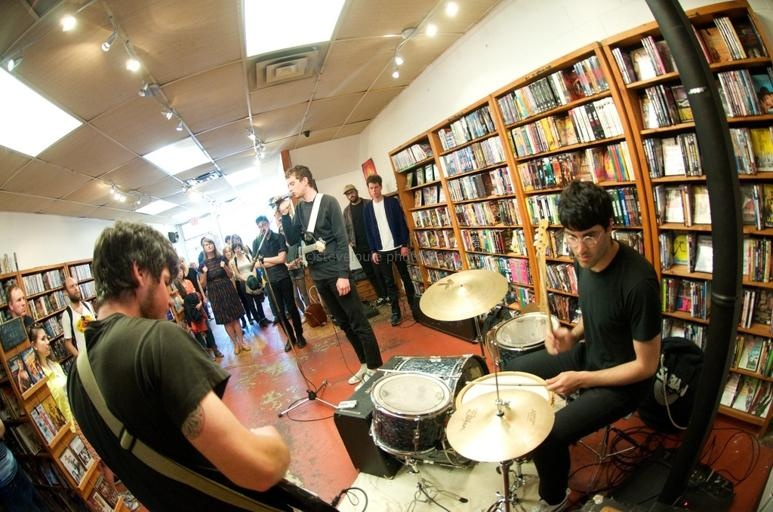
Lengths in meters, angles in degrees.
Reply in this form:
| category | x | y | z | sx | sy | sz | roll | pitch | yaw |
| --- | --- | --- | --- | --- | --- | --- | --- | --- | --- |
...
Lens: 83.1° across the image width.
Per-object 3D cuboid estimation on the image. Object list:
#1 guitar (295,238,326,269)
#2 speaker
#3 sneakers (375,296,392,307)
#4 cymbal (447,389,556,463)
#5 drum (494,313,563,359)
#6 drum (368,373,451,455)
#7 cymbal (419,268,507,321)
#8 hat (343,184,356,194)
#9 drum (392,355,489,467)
| category | x | y | z | sx | sy | sz | roll | pitch | yaw |
| --- | --- | --- | --- | --- | --- | --- | --- | --- | --- |
| guitar | -0.712 | -0.043 | 4.296 | 0.287 | 0.271 | 0.118 | 5 | 12 | 14 |
| speaker | -0.138 | 1.270 | 3.401 | 0.357 | 0.590 | 0.709 | -12 | 16 | 35 |
| sneakers | -0.011 | 0.665 | 6.484 | 0.325 | 0.132 | 0.113 | -3 | 4 | -10 |
| cymbal | 0.657 | 0.972 | 2.547 | 0.610 | 0.264 | 0.334 | -14 | 6 | -1 |
| drum | 1.078 | 0.610 | 3.327 | 0.344 | 0.335 | 0.335 | -31 | 18 | -4 |
| drum | 0.126 | 1.025 | 3.145 | 0.532 | 0.316 | 0.512 | -2 | 21 | 1 |
| cymbal | 0.535 | 0.276 | 3.103 | 0.623 | 0.241 | 0.382 | -14 | 6 | 3 |
| hat | -0.542 | -0.977 | 6.210 | 0.140 | 0.090 | 0.188 | -20 | -3 | 14 |
| drum | 0.356 | 1.076 | 2.980 | 0.439 | 0.578 | 0.577 | -17 | 39 | 31 |
